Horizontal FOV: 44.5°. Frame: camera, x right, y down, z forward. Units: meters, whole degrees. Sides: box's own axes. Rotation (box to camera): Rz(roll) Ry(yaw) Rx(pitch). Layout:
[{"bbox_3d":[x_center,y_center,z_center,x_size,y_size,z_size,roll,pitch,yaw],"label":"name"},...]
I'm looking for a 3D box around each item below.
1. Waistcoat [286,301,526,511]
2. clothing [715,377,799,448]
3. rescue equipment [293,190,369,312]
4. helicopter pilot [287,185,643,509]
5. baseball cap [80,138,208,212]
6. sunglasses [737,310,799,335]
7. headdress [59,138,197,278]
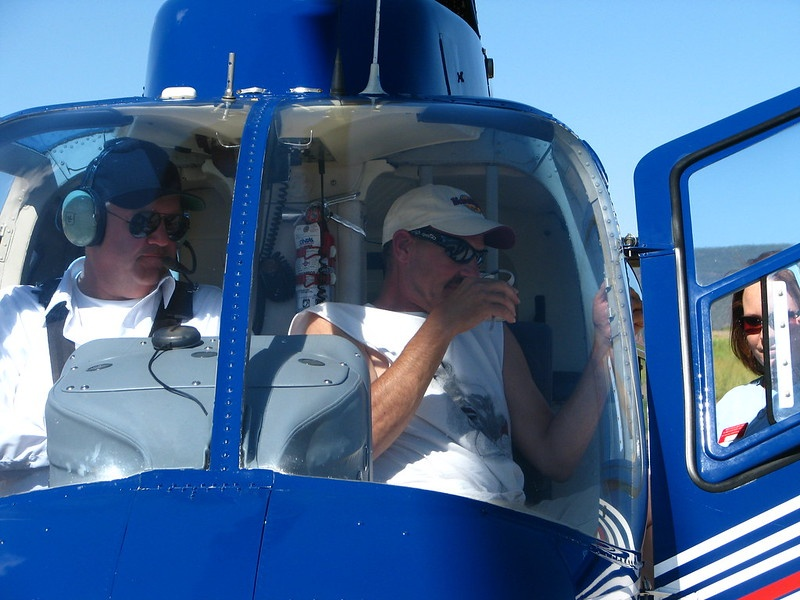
[{"bbox_3d":[0.014,0.379,3.372,0.481,0.516,0.305,12,-36,-23],"label":"Waistcoat"},{"bbox_3d":[1.217,0.383,3.317,0.188,0.217,0.048,-17,-9,21],"label":"clothing"},{"bbox_3d":[-0.337,-0.181,4.330,0.253,0.583,0.273,3,2,-5],"label":"rescue equipment"},{"bbox_3d":[0.162,0.232,3.968,1.121,1.690,1.096,19,-33,-41],"label":"helicopter pilot"},{"bbox_3d":[-1.057,-0.466,3.888,0.503,0.322,0.395,-9,4,37],"label":"baseball cap"},{"bbox_3d":[1.237,0.087,3.377,0.099,0.035,0.115,-6,-32,0],"label":"sunglasses"},{"bbox_3d":[-1.038,-0.401,3.804,0.426,0.425,0.401,23,-1,26],"label":"headdress"}]
